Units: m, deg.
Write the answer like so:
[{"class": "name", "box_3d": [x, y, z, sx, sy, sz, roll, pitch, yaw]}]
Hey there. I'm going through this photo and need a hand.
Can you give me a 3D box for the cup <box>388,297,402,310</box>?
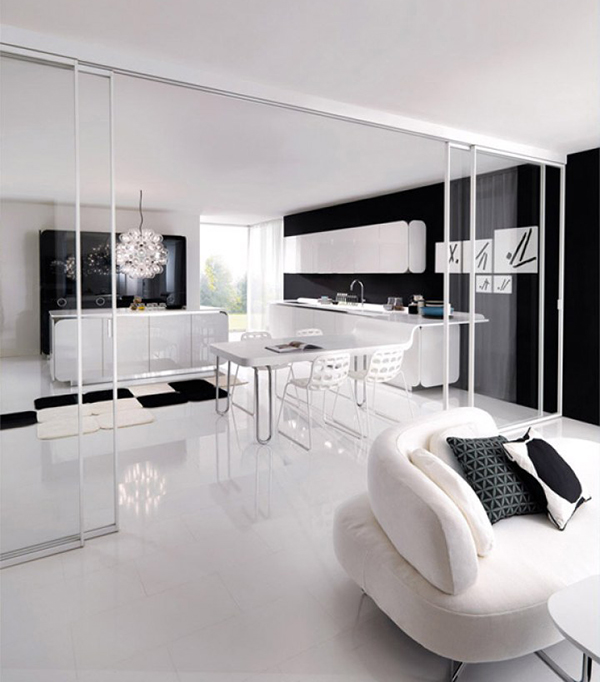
[{"class": "cup", "box_3d": [1.214, -0.475, 6.607, 0.264, 0.161, 0.214, 5, 8, 33]}]
